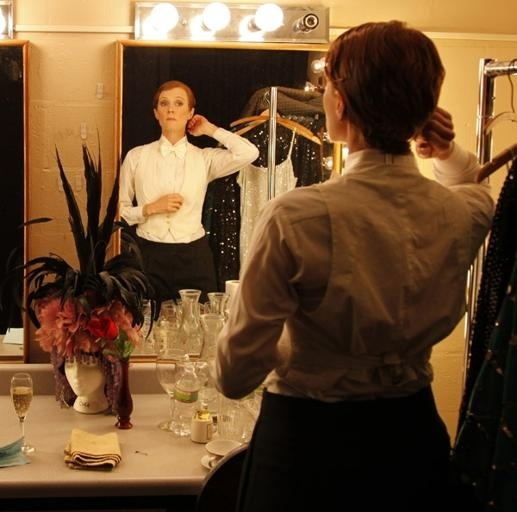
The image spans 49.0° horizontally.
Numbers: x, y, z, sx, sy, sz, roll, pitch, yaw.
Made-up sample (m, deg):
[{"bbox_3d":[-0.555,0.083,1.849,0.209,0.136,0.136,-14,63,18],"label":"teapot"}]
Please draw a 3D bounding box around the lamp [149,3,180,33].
[{"bbox_3d":[-0.277,-0.698,1.664,0.073,0.086,0.048,3,-2,-5],"label":"lamp"}]

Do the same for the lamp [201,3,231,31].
[{"bbox_3d":[-0.131,-0.700,1.669,0.072,0.092,0.077,2,22,-9],"label":"lamp"}]

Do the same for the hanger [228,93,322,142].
[{"bbox_3d":[0.064,-0.393,1.699,0.200,0.088,0.159,1,10,-5],"label":"hanger"}]

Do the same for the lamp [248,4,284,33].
[{"bbox_3d":[0.033,-0.696,1.682,0.073,0.082,0.074,-1,14,-5],"label":"lamp"}]

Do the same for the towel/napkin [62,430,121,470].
[{"bbox_3d":[-0.374,0.430,1.271,0.126,0.037,0.181,1,5,-16],"label":"towel/napkin"}]
